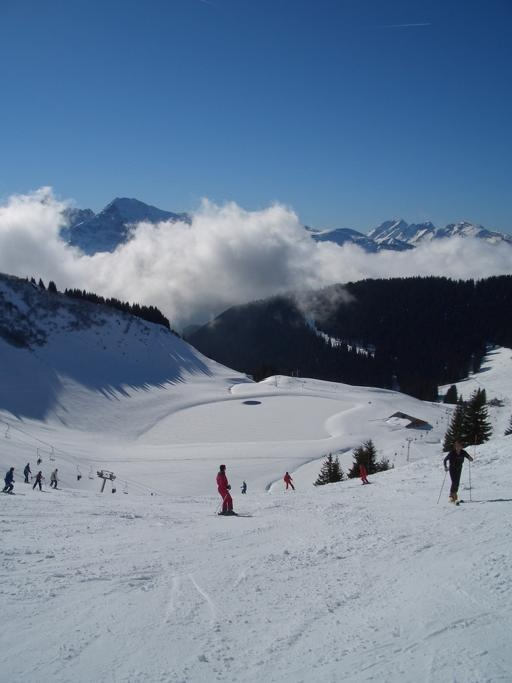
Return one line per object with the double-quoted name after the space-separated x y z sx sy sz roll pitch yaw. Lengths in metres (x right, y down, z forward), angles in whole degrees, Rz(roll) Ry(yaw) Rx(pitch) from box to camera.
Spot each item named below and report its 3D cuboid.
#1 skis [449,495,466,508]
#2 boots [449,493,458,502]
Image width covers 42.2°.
4.718 3.738 15.405 0.287 0.338 0.171 -14 9 -13 "skis"
4.639 3.694 15.542 0.182 0.114 0.257 -2 -25 -1 "boots"
